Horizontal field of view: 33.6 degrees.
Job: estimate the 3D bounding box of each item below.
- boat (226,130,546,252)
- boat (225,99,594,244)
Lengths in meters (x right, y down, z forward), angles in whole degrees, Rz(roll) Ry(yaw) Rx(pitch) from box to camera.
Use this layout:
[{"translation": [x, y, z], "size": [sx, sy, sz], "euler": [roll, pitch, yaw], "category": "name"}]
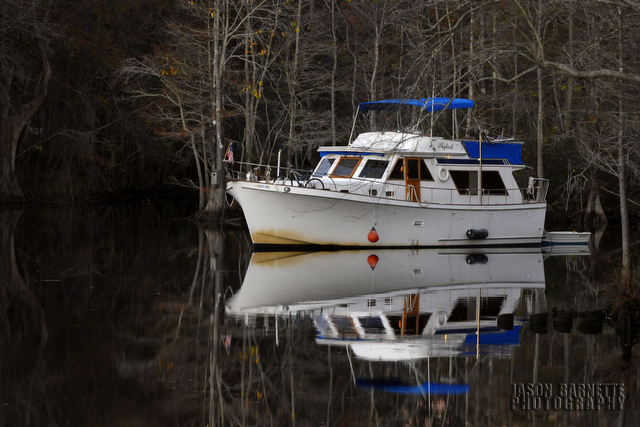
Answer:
[{"translation": [2.814, -0.724, 37.697], "size": [10.700, 4.245, 1.740], "euler": [1, -1, -19], "category": "boat"}, {"translation": [3.085, -1.508, 38.177], "size": [13.088, 4.762, 4.551], "euler": [-1, 0, -19], "category": "boat"}]
